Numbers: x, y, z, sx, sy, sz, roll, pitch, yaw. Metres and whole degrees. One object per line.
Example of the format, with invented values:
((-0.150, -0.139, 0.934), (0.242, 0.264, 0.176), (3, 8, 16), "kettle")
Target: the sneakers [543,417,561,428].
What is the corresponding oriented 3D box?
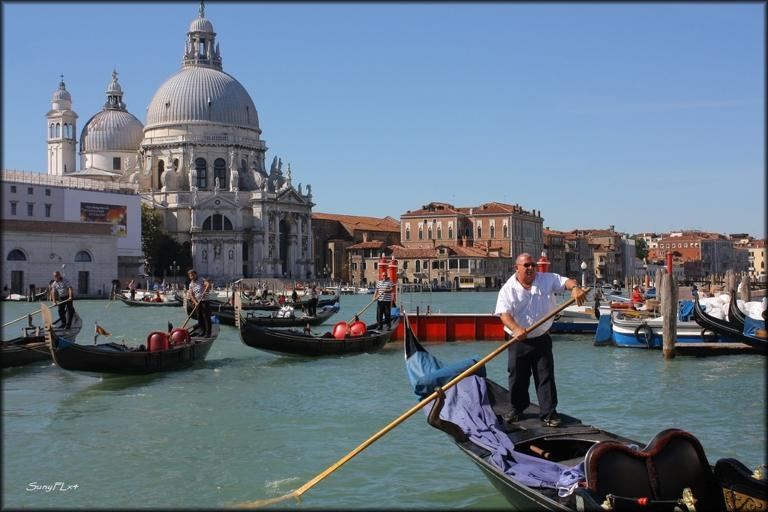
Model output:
((3.005, 2.992, 19.204), (0.353, 0.153, 0.137), (-6, -5, 40), "sneakers")
